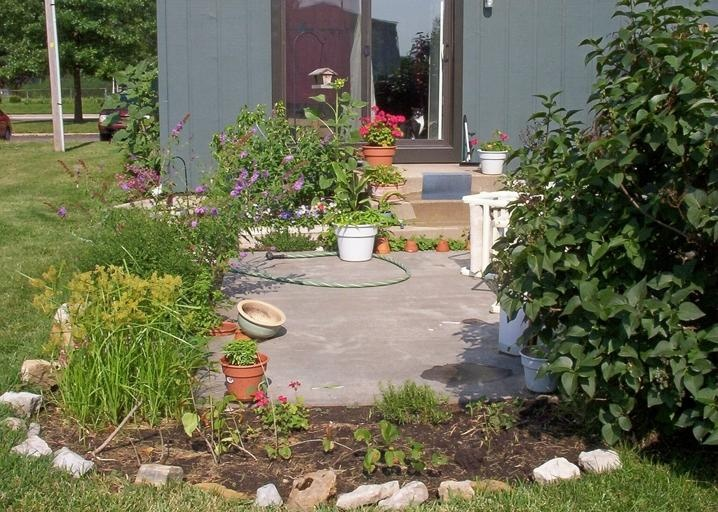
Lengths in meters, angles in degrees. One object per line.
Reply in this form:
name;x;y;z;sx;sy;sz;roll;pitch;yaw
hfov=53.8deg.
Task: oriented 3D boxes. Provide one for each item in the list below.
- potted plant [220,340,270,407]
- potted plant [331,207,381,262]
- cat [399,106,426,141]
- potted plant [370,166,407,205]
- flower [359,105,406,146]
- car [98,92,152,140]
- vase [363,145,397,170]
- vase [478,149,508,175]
potted plant;-0.791;0.785;4.839;0.374;0.440;0.385;0;-2;-7
potted plant;-0.034;-0.269;8.401;0.546;0.436;0.568;2;6;10
cat;0.756;-2.090;11.216;0.453;0.478;0.428;-12;15;-27
potted plant;0.398;-0.943;9.290;0.477;0.401;0.496;2;7;11
flower;0.304;-1.763;9.624;0.568;0.525;0.381;2;10;4
car;-7.669;-3.992;23.429;1.674;1.462;4.162;3;-4;-16
vase;0.261;-1.324;9.576;0.330;0.224;0.341;0;-1;0
vase;1.916;-1.342;10.125;0.389;0.327;0.363;3;10;10
